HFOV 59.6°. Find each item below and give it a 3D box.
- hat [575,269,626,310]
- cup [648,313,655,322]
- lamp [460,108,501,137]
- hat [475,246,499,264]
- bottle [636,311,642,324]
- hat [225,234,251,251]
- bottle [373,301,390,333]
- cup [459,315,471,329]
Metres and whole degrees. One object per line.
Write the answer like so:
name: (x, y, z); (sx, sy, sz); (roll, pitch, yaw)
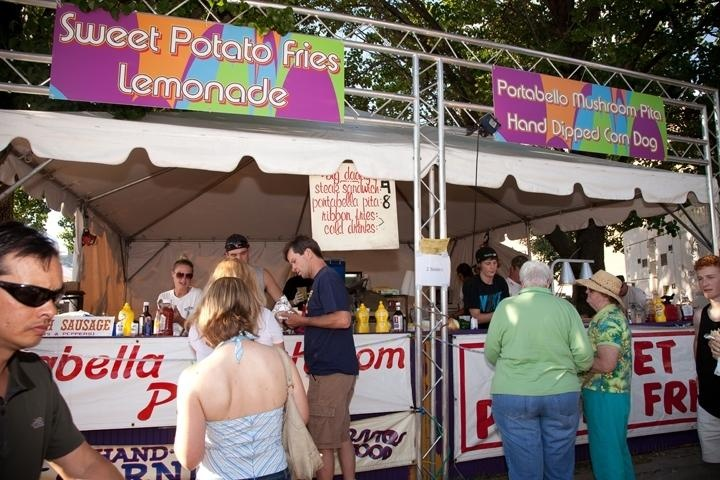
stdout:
hat: (2.711, 0.572, 7.057); (0.431, 0.183, 0.406); (29, -2, 9)
cup: (4.705, 1.262, 10.120); (0.109, 0.137, 0.118); (3, -20, 1)
lamp: (1.671, -1.572, 8.656); (0.420, 0.357, 0.420); (2, -10, -24)
hat: (1.796, 0.197, 9.047); (0.238, 0.190, 0.264); (-1, 6, -15)
bottle: (4.442, 1.250, 10.005); (0.107, 0.209, 0.108); (4, -11, 1)
hat: (-1.598, 0.051, 7.996); (0.253, 0.256, 0.350); (0, -9, -17)
bottle: (0.291, 1.036, 8.445); (0.204, 0.407, 0.444); (-2, -9, 1)
cup: (1.442, 1.146, 8.695); (0.152, 0.228, 0.153); (0, 1, 0)
